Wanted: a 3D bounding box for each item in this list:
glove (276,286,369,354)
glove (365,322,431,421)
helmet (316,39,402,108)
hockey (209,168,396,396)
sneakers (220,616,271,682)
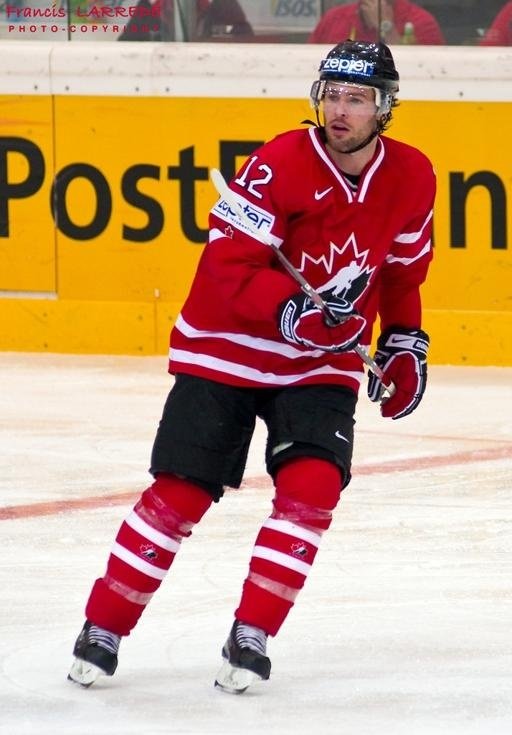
[{"bbox_3d":[0.101,-0.067,1.485,0.094,0.050,0.123,-36,51,-29],"label":"glove"},{"bbox_3d":[0.283,0.007,1.901,0.145,0.162,0.070,9,3,35],"label":"glove"},{"bbox_3d":[0.176,-0.503,1.703,0.137,0.120,0.144,4,0,20],"label":"helmet"},{"bbox_3d":[0.065,-0.144,1.561,0.083,0.550,0.074,-26,30,49],"label":"hockey"},{"bbox_3d":[-0.018,0.449,1.510,0.085,0.103,0.079,3,10,9],"label":"sneakers"}]
